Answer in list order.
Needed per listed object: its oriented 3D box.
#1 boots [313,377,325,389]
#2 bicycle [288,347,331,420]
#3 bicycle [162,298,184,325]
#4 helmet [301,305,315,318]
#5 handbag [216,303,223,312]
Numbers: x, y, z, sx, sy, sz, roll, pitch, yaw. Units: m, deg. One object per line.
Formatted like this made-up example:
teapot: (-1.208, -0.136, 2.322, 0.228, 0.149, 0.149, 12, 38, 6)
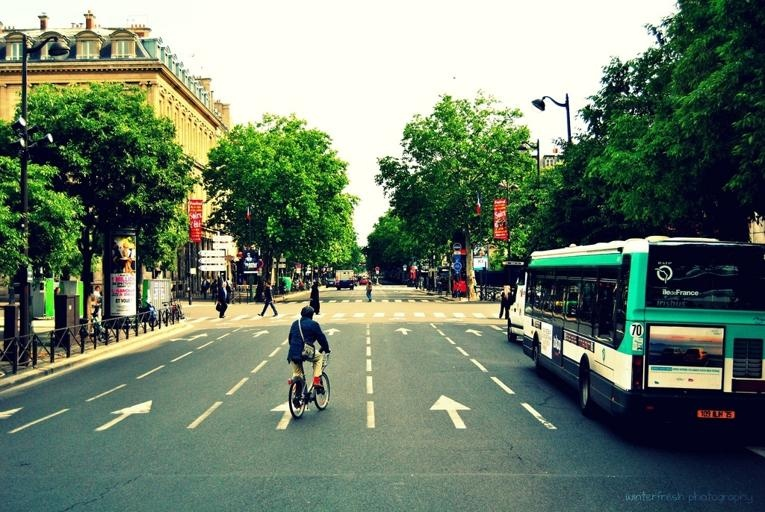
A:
boots: (-1.563, 3.116, 20.524, 0.214, 0.241, 0.274, -4, 1, -14)
bicycle: (-2.011, 3.367, 20.616, 0.723, 1.041, 1.553, 4, 9, 25)
bicycle: (-10.615, 2.824, 41.911, 0.618, 0.823, 1.362, -3, -6, -1)
helmet: (-1.818, 1.361, 20.672, 0.272, 0.396, 0.363, -1, -2, -12)
handbag: (-9.094, 2.839, 46.669, 0.226, 0.495, 0.864, 1, -3, -28)
